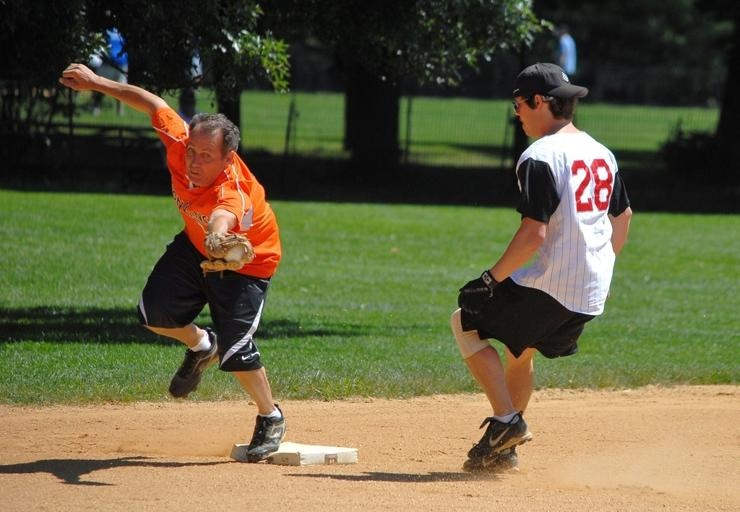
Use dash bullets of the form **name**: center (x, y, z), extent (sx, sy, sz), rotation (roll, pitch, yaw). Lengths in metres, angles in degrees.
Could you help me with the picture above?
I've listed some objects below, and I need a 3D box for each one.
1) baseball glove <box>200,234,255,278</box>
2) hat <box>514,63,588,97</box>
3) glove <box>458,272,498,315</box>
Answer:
- **baseball glove**: center (-1.409, -0.010, 13.590), extent (0.512, 0.283, 0.382), rotation (-16, -7, 12)
- **hat**: center (1.802, -1.794, 14.008), extent (0.805, 0.338, 0.518), rotation (11, 21, 33)
- **glove**: center (1.052, 0.351, 13.839), extent (0.289, 0.466, 0.169), rotation (50, 23, 18)
